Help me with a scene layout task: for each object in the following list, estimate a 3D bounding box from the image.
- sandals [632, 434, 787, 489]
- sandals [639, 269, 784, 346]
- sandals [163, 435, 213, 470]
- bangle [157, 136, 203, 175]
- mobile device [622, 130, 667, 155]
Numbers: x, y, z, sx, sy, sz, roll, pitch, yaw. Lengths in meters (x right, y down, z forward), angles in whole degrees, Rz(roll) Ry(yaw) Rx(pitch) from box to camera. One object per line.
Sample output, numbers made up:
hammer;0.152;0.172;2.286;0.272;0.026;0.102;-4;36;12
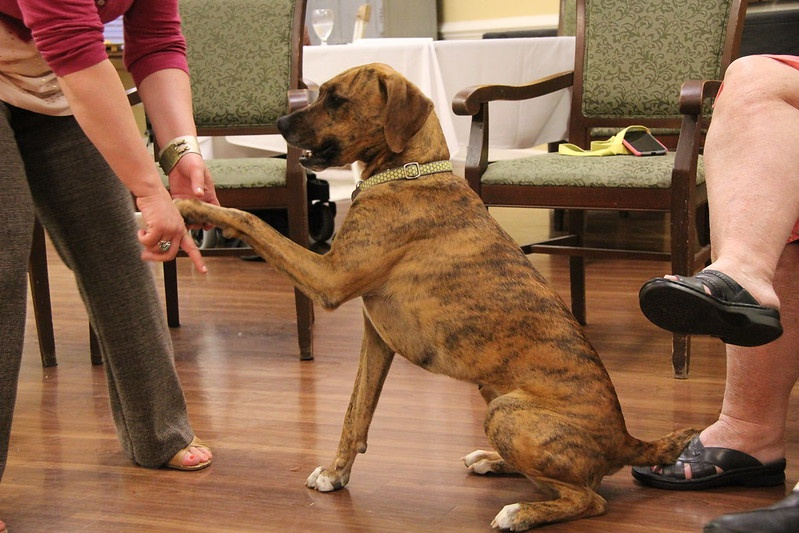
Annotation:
sandals;0.888;0.575;1.944;0.417;0.108;0.141;1;-3;1
sandals;0.677;0.084;1.579;0.406;0.133;0.159;10;42;7
sandals;-0.692;0.594;2.087;0.194;0.062;0.089;1;9;30
bangle;-0.645;-0.329;1.948;0.120;0.107;0.085;-1;23;-31
mobile device;1.040;-0.523;2.830;0.159;0.045;0.154;-15;43;-16
